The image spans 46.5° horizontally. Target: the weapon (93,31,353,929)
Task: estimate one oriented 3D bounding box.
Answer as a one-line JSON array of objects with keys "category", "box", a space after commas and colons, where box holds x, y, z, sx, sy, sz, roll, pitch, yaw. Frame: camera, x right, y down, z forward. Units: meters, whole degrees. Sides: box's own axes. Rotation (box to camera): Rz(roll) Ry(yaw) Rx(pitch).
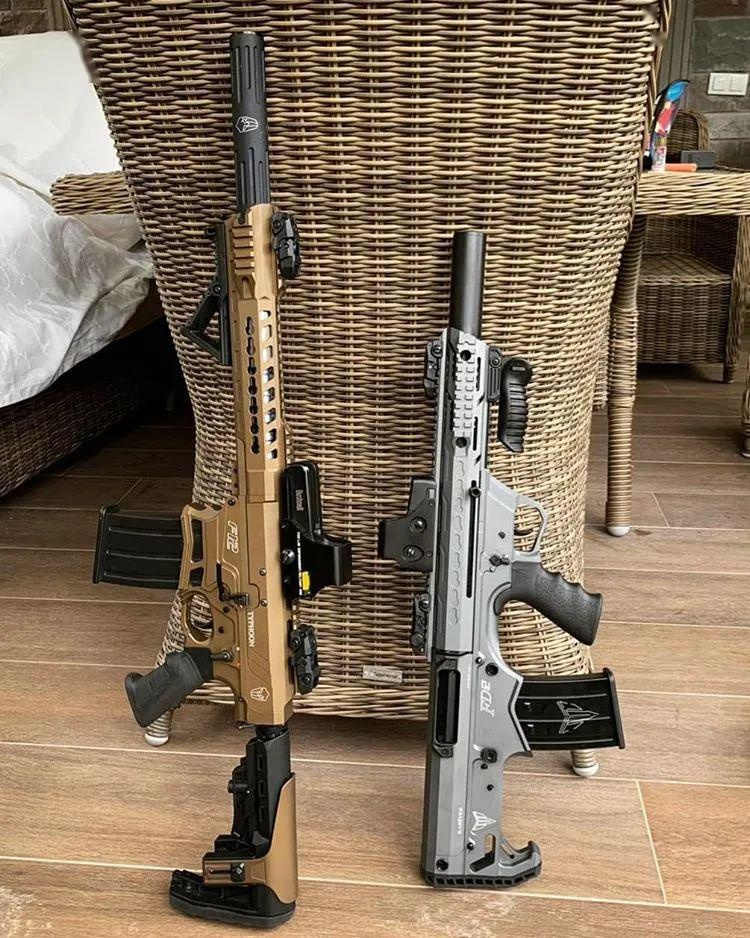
[{"category": "weapon", "box": [-0.132, 0.023, 0.788, 0.211, 0.758, 0.299, -3, 21, -3]}]
